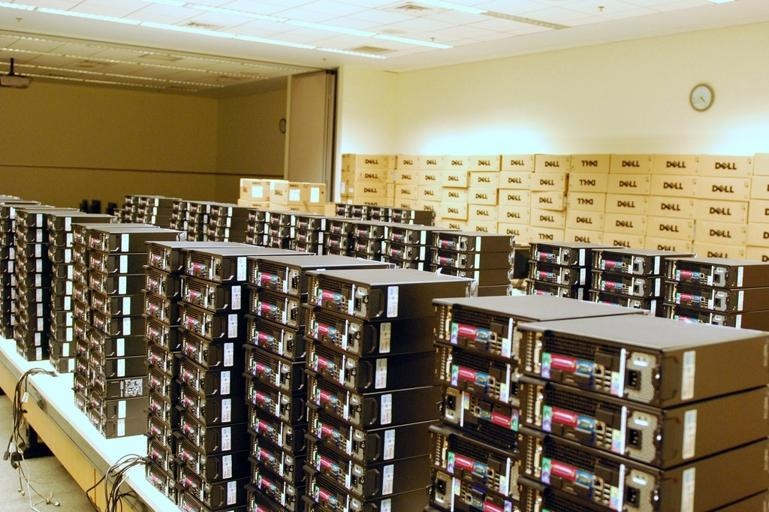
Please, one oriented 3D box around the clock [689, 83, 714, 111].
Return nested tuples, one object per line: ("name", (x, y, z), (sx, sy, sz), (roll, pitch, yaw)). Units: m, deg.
("clock", (5.121, -2.542, 9.888), (0.077, 0.433, 0.398), (-3, 6, -30))
